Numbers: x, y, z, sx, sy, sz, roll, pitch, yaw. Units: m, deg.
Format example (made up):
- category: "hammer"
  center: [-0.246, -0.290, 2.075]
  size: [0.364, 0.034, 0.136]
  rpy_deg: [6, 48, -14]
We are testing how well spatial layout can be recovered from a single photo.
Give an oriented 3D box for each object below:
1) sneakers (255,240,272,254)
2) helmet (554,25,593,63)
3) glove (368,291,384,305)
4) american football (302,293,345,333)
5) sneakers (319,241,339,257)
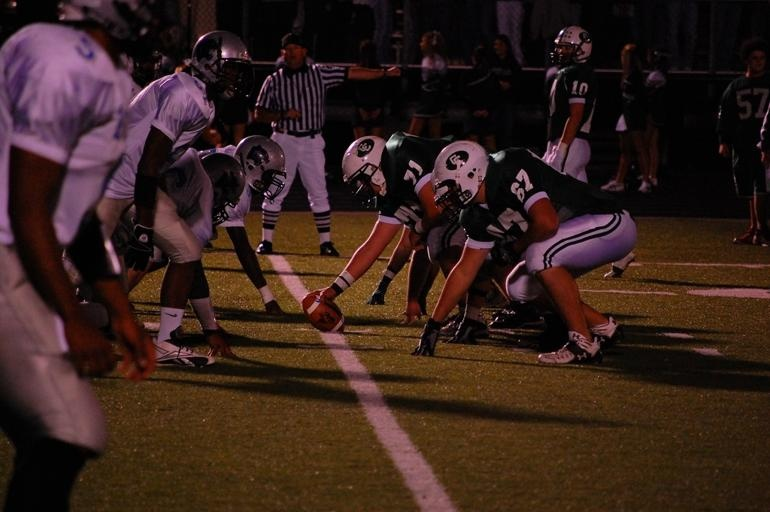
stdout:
- category: "sneakers"
  center: [-1.294, -0.097, 8.814]
  size: [0.218, 0.187, 0.105]
  rpy_deg: [4, 3, 0]
- category: "helmet"
  center: [1.824, -2.059, 7.964]
  size: [0.418, 0.308, 0.317]
  rpy_deg: [0, 14, -1]
- category: "glove"
  center: [-0.066, 0.339, 6.583]
  size: [0.171, 0.090, 0.131]
  rpy_deg: [-4, -8, 5]
- category: "american football"
  center: [-0.425, 0.412, 5.387]
  size: [0.225, 0.247, 0.354]
  rpy_deg: [-4, -11, 12]
- category: "sneakers"
  center: [-0.603, -0.089, 8.807]
  size: [0.240, 0.155, 0.122]
  rpy_deg: [7, 23, 14]
